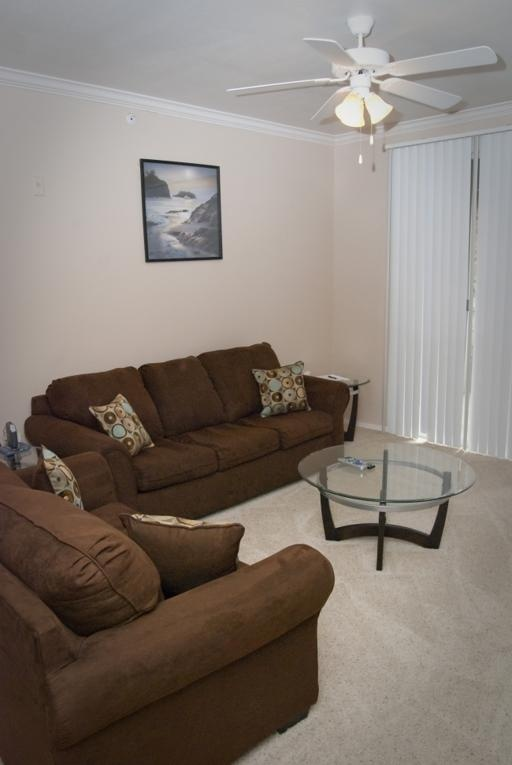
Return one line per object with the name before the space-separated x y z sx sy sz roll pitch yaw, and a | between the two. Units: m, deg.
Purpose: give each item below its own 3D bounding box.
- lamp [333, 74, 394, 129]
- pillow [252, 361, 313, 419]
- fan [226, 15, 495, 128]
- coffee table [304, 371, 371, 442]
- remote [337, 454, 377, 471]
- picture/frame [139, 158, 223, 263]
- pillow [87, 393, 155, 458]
lamp | 0.489 -1.297 2.601 0.226 0.116 0.237 20 -7 20
pillow | 0.310 0.031 4.348 0.087 0.334 0.329 -22 41 27
fan | 0.540 -1.628 2.935 0.737 0.284 0.681 -7 15 -31
coffee table | 0.788 0.160 5.235 0.612 0.621 0.615 -2 8 -31
remote | 0.550 0.436 3.091 0.082 0.045 0.122 -7 17 -40
picture/frame | -0.569 -1.267 4.121 0.047 0.745 0.756 6 14 37
pillow | -0.779 0.265 3.310 0.203 0.294 0.313 4 11 27
